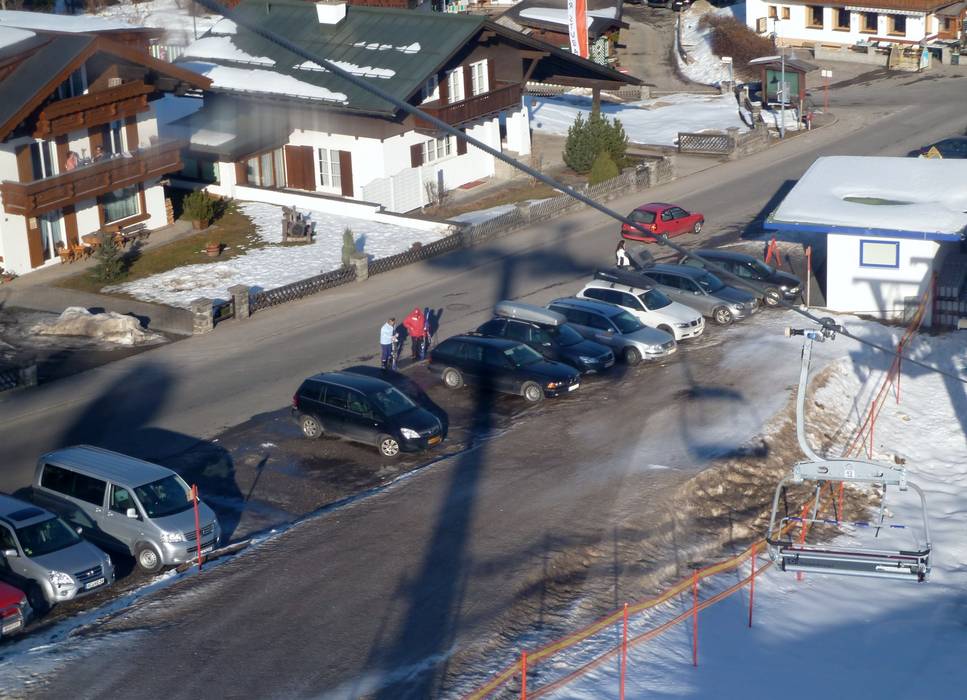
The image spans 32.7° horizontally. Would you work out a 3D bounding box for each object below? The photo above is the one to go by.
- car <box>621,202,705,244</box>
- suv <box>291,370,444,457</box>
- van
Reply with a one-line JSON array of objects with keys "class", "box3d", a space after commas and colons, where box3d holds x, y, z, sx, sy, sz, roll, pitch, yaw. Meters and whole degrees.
[{"class": "car", "box3d": [7.610, -5.644, 73.749, 2.969, 1.701, 4.256, 10, 19, 34]}, {"class": "suv", "box3d": [-4.002, 2.289, 57.561, 5.055, 1.813, 2.531, 8, 21, 25]}, {"class": "van", "box3d": [-11.113, 5.078, 53.102, 6.528, 2.164, 2.870, 16, 24, 24]}]
